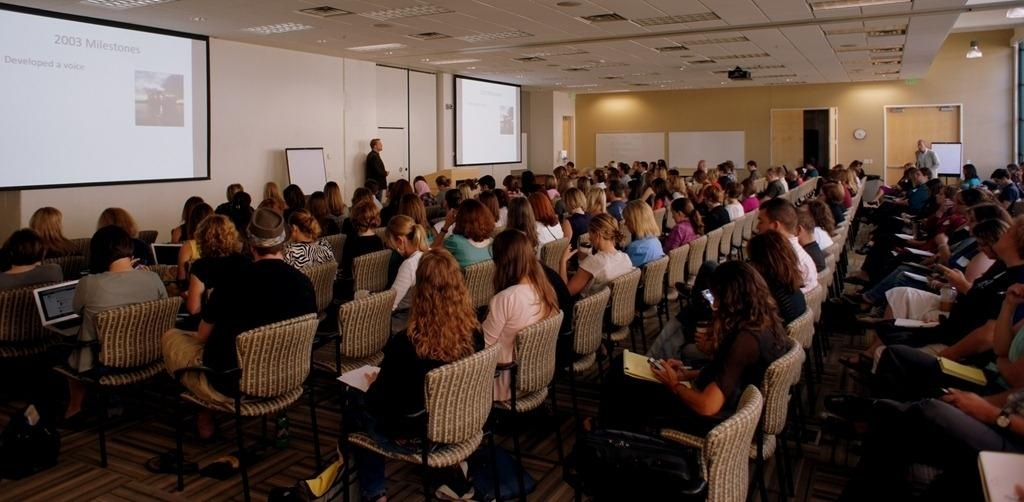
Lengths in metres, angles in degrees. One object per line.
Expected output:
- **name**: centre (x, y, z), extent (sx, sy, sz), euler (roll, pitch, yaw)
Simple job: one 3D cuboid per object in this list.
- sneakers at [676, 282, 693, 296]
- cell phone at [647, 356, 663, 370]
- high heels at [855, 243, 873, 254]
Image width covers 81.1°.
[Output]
- **sneakers**: centre (2.458, 0.575, 8.502), extent (0.273, 0.104, 0.185), euler (31, 35, -7)
- **cell phone**: centre (1.490, 1.158, 6.212), extent (0.094, 0.097, 0.185), euler (-7, 15, -17)
- **high heels**: centre (7.586, -0.069, 12.877), extent (0.136, 0.156, 0.416), euler (6, 28, 42)
